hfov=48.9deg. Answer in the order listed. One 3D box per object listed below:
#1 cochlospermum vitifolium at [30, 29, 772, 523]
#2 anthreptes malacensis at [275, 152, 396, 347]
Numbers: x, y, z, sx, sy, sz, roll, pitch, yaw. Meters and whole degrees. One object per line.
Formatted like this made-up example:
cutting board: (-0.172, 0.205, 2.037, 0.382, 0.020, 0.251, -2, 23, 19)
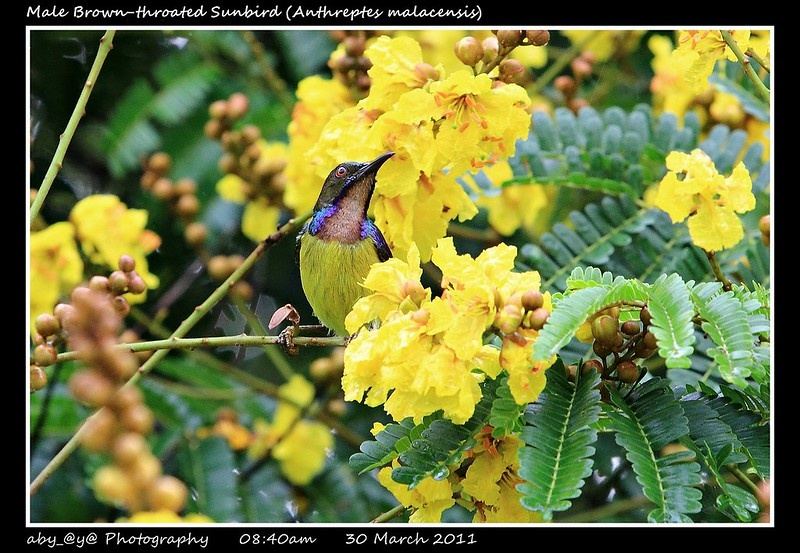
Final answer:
cochlospermum vitifolium: (0.366, -0.204, 3.894, 2.633, 2.234, 1.353, -11, 37, 25)
anthreptes malacensis: (-0.307, -0.178, 4.629, 0.648, 1.094, 0.906, 1, 0, -6)
